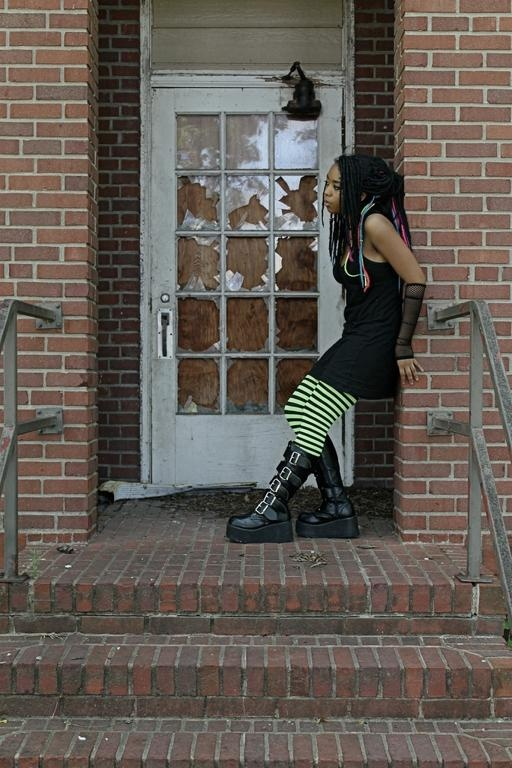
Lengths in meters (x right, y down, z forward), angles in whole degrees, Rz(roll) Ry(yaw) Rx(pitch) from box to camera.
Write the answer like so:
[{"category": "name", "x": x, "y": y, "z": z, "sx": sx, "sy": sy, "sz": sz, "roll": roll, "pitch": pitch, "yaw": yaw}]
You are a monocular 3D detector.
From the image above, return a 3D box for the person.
[{"category": "person", "x": 0.336, "y": -0.150, "z": 4.087, "sx": 0.737, "sy": 1.648, "sz": 0.378, "roll": 1, "pitch": 8, "yaw": -1}]

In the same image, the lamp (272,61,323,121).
[{"category": "lamp", "x": 0.244, "y": -1.587, "z": 5.127, "sx": 0.230, "sy": 0.295, "sz": 0.153, "roll": 2, "pitch": 8, "yaw": 6}]

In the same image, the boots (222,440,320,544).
[{"category": "boots", "x": 0.002, "y": 0.485, "z": 4.116, "sx": 0.533, "sy": 0.517, "sz": 0.283, "roll": 5, "pitch": 2, "yaw": 3}]
